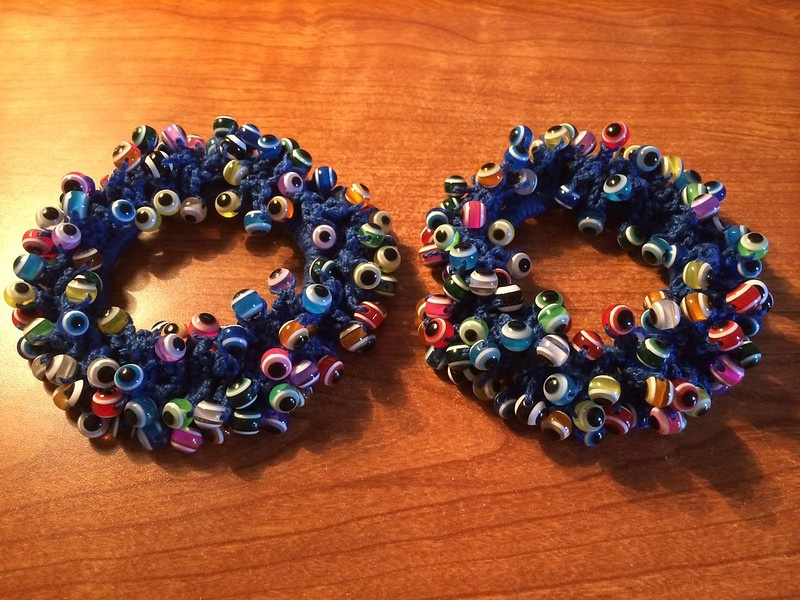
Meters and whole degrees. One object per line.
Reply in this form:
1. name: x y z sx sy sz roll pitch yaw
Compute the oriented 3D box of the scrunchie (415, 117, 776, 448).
1. scrunchie: 0.342 0.001 1.797 0.664 0.640 0.189 13 47 28
